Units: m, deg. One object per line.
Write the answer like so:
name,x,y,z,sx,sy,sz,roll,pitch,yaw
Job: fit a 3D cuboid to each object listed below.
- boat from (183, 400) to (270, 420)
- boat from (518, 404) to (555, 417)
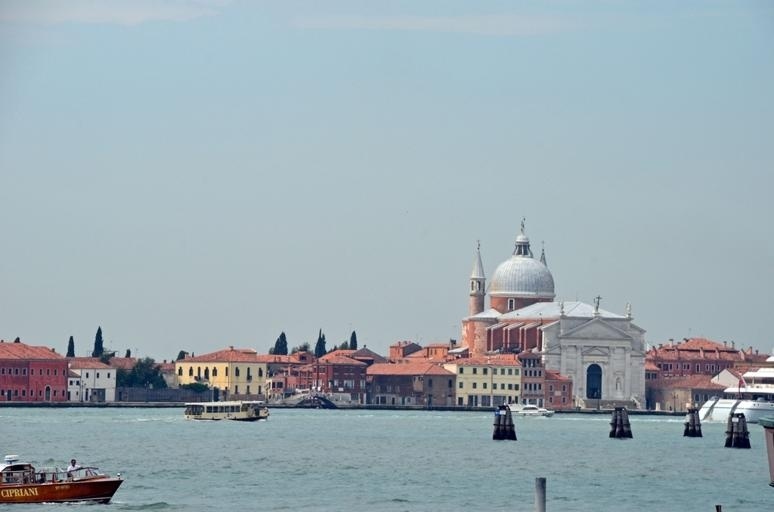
boat,-10.141,9.836,119.249,5.159,1.409,3.238,2,-10,-10
boat,9.996,10.548,127.933,2.666,0.599,0.797,2,7,11
